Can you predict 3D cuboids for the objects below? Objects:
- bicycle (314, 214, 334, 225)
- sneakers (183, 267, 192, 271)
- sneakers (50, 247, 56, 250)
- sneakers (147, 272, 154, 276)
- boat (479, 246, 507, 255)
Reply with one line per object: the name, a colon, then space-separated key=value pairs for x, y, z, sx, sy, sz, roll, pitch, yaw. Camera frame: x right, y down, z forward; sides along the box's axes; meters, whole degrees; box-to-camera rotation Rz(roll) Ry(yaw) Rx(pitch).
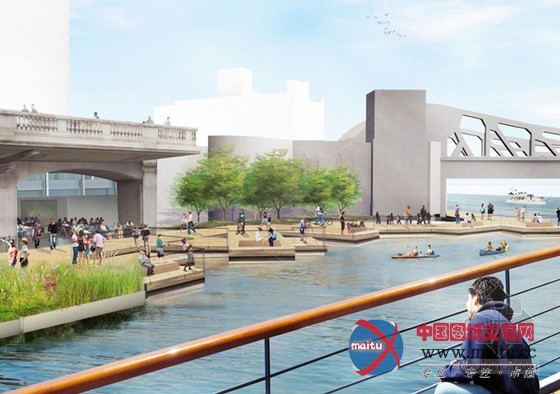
bicycle: x=3.655 y=1.962 z=62.537 sx=0.950 sy=0.940 sz=1.827 roll=2 pitch=-2 yaw=-32
sneakers: x=-5.429 y=4.217 z=40.538 sx=0.549 sy=0.230 sz=0.166 roll=-9 pitch=8 yaw=-38
sneakers: x=-15.108 y=3.385 z=45.847 sx=0.179 sy=0.195 sz=0.293 roll=2 pitch=4 yaw=34
sneakers: x=-7.226 y=4.312 z=38.784 sx=0.210 sy=0.191 sz=0.628 roll=-8 pitch=-3 yaw=12
boat: x=16.115 y=4.127 z=52.255 sx=2.283 sy=0.619 sz=0.690 roll=-6 pitch=-3 yaw=-18
